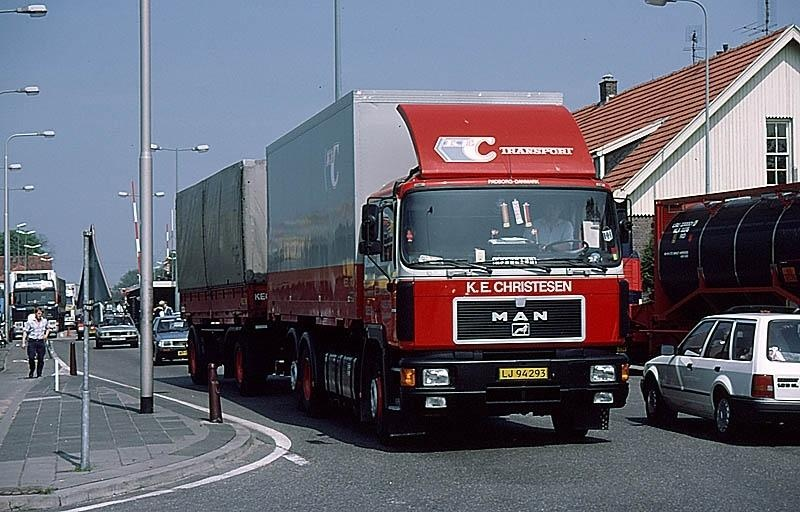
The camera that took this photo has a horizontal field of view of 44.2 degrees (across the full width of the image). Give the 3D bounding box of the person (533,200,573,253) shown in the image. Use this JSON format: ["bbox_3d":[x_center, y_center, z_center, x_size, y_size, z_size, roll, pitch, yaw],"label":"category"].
[{"bbox_3d":[2.494,-0.479,15.999,0.547,0.789,0.203,2,-6,-1],"label":"person"}]
